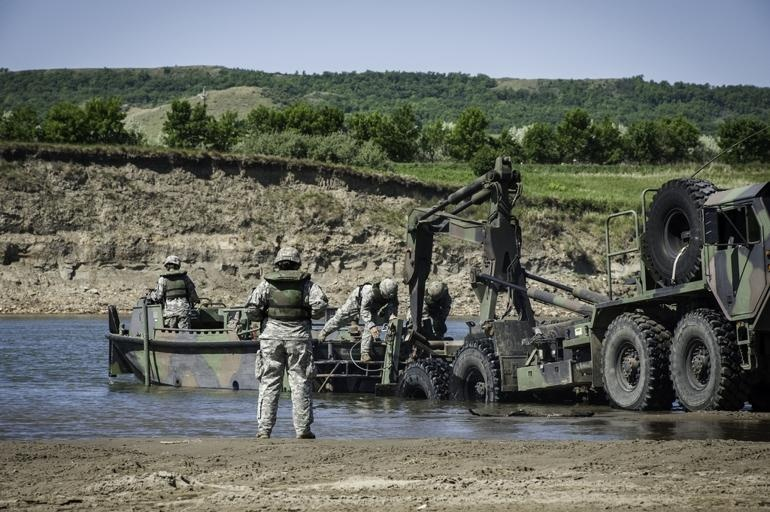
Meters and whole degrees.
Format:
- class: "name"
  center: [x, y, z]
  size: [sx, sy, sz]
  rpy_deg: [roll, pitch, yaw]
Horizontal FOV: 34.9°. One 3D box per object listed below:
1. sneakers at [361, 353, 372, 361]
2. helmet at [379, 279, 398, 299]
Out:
- class: "sneakers"
  center: [-0.590, 3.243, 38.809]
  size: [0.148, 0.160, 0.324]
  rpy_deg: [0, -3, -28]
- class: "helmet"
  center: [0.118, 0.986, 39.158]
  size: [0.436, 0.648, 0.617]
  rpy_deg: [7, -42, 2]
